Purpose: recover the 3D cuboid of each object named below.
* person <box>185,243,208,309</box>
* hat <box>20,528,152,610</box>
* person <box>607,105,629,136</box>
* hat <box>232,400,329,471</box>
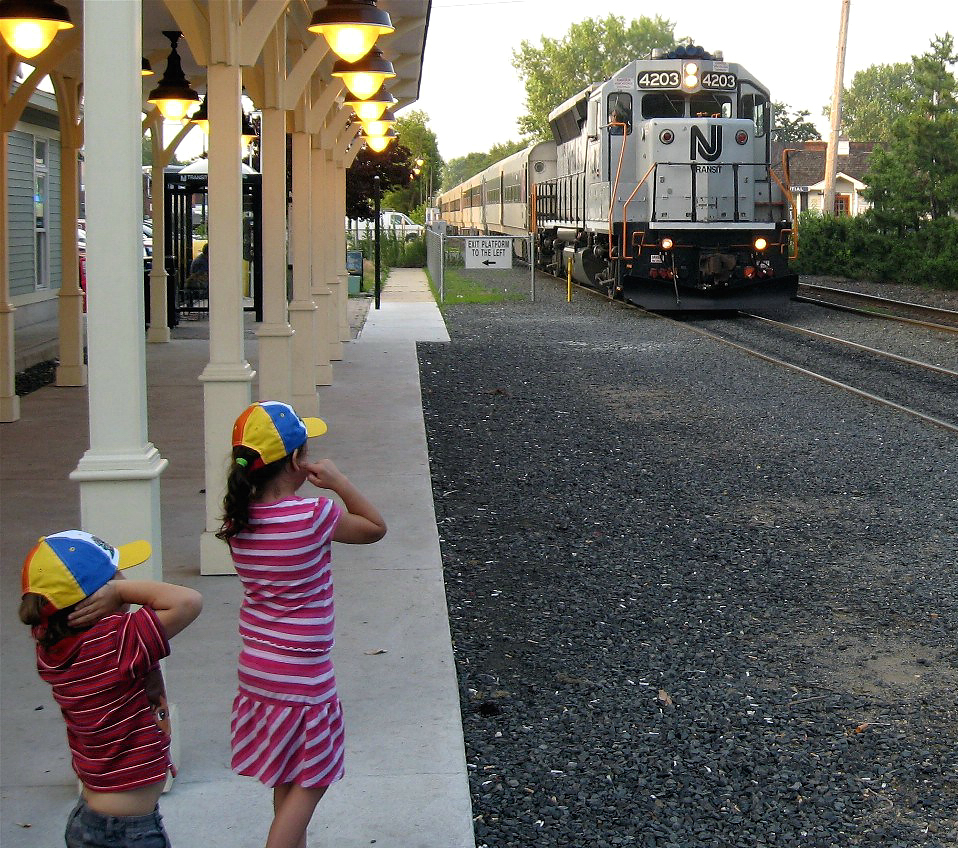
[{"bbox_3d":[-6.588,-3.330,22.277,0.444,1.314,1.043,-2,10,-20],"label":"person"},{"bbox_3d":[-0.958,0.310,2.316,0.305,0.151,0.190,-33,19,-37],"label":"hat"},{"bbox_3d":[3.218,-7.046,22.004,0.430,0.749,0.223,-5,-3,18],"label":"person"},{"bbox_3d":[-0.617,-0.013,2.904,0.195,0.161,0.334,4,24,29],"label":"hat"}]
